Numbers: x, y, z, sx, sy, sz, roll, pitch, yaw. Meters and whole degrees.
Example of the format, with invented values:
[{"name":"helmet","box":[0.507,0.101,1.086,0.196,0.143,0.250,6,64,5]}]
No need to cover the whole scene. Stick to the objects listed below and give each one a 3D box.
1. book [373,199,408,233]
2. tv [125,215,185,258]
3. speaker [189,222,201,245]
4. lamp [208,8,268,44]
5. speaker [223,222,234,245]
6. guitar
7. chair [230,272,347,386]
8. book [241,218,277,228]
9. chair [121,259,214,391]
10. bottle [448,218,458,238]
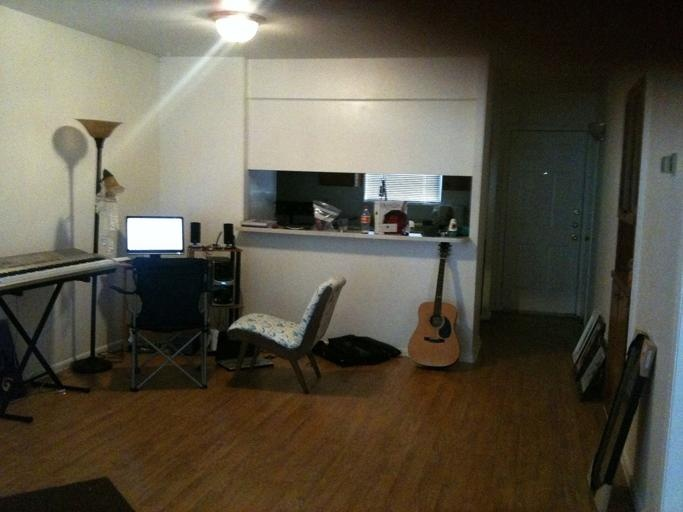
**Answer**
[{"name":"book","box":[0.463,-0.370,5.343,0.334,0.353,0.093,0,3,-3]},{"name":"tv","box":[-1.702,-0.179,5.078,0.364,0.269,0.108,-1,-2,-13]},{"name":"speaker","box":[-1.376,-0.213,5.247,0.076,0.197,0.157,-3,10,-25]},{"name":"lamp","box":[-0.774,-1.696,4.140,0.406,0.162,0.308,0,10,-10]},{"name":"speaker","box":[-1.057,-0.207,5.235,0.085,0.192,0.207,0,10,-10]},{"name":"guitar","box":[0.810,0.431,5.034,0.424,1.060,0.360,-1,9,-12]},{"name":"chair","box":[-0.465,0.602,4.651,0.880,0.890,0.544,6,8,14]},{"name":"book","box":[-0.814,-0.320,5.537,0.335,0.056,0.232,4,10,15]},{"name":"chair","box":[-1.437,0.502,4.657,0.848,1.069,0.847,4,6,11]},{"name":"bottle","box":[1.037,-0.268,5.234,0.082,0.161,0.240,3,10,13]}]
